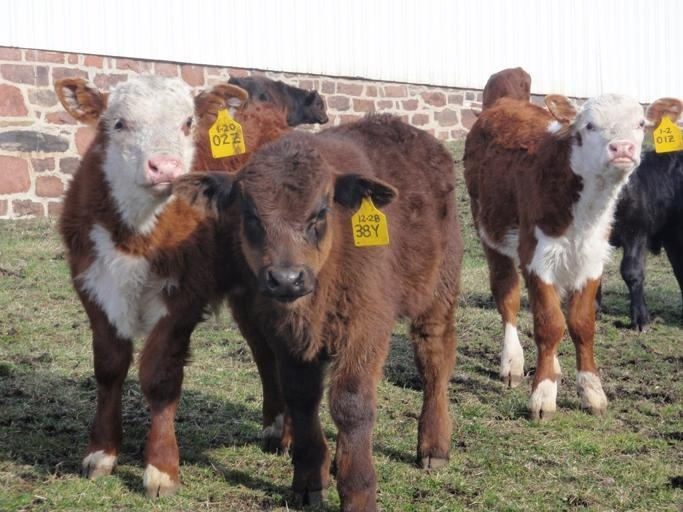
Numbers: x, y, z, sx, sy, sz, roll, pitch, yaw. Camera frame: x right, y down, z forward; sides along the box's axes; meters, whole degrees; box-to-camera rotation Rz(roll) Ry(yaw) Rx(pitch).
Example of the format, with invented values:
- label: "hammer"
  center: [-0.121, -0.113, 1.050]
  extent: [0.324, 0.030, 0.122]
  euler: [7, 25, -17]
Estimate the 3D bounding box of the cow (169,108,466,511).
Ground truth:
- label: "cow"
  center: [0.059, 0.382, 7.896]
  extent: [2.335, 3.420, 1.416]
  euler: [0, 3, -42]
